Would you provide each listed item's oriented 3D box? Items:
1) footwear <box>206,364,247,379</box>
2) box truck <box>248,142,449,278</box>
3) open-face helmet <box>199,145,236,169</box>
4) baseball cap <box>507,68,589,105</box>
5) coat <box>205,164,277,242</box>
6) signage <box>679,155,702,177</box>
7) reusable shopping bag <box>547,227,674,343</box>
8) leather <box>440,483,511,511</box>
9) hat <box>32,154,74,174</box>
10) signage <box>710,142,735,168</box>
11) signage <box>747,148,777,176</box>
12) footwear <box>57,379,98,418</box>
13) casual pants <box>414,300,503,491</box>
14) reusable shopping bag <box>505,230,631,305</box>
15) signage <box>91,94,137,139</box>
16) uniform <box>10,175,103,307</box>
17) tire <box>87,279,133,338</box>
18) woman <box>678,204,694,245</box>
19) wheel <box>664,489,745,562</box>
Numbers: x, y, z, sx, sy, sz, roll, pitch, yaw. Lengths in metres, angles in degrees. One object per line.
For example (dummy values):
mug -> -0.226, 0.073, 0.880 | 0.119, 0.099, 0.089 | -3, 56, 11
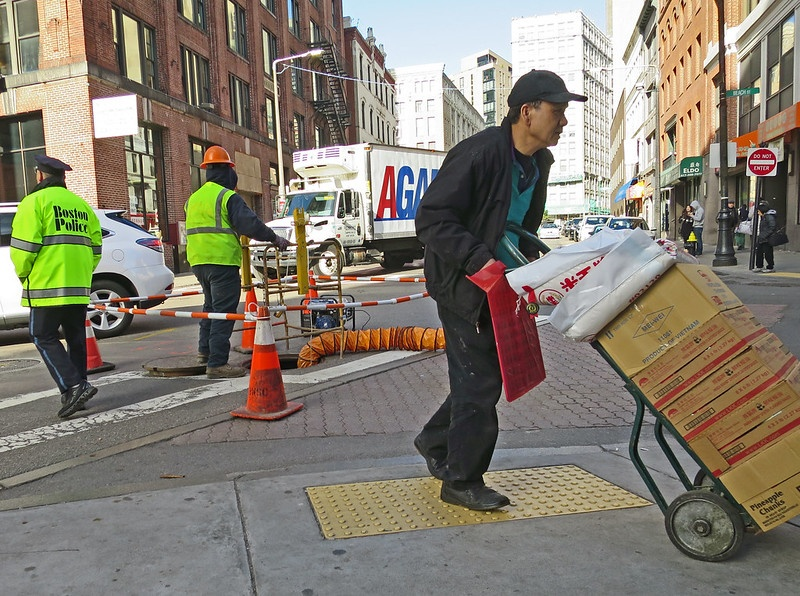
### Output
footwear -> -1.789, 0.760, 7.017 | 0.425, 0.164, 0.156 | -2, 2, -11
box truck -> -2.028, -2.670, 19.308 | 3.131, 3.313, 7.499 | 1, 3, 36
open-face helmet -> -1.954, -1.471, 7.262 | 0.398, 0.240, 0.457 | -2, 6, -5
baseball cap -> 0.760, -1.091, 3.564 | 0.339, 0.159, 0.208 | -6, 6, 16
coat -> -1.641, -0.991, 7.026 | 0.463, 0.809, 0.842 | -8, 12, -34
signage -> 13.768, -6.171, 31.749 | 0.930, 0.755, 1.268 | -9, 9, -39
reusable shopping bag -> 1.038, -0.055, 3.298 | 0.607, 0.217, 0.481 | -41, 27, 7
leather -> 0.420, 1.099, 3.820 | 0.373, 0.142, 0.144 | -1, 3, 28
hat -> -3.180, -1.208, 6.054 | 0.293, 0.095, 0.266 | 21, 19, 36
signage -> 9.052, -4.025, 18.946 | 0.037, 0.943, 1.498 | 2, 6, 42
signage -> 8.346, -3.133, 15.586 | 0.564, 0.653, 0.617 | 2, 10, 22
footwear -> -2.814, 0.863, 5.788 | 0.431, 0.199, 0.154 | -40, -11, 10
casual pants -> 0.349, 0.452, 3.899 | 0.531, 1.318, 0.477 | 0, 7, -1
reusable shopping bag -> 0.798, -0.156, 3.302 | 0.432, 0.153, 0.440 | -28, -2, 35
signage -> -8.440, -5.341, 19.867 | 1.534, 1.168, 0.054 | 0, 0, 22
uniform -> -3.031, -0.484, 5.969 | 0.735, 1.098, 0.447 | -8, 11, -34
tire -> -4.093, 0.124, 9.475 | 0.908, 0.825, 0.315 | -5, 1, -40
woman -> 10.827, -2.759, 25.319 | 0.697, 1.596, 0.644 | -1, 0, 37
wheel -> 1.473, 1.101, 3.268 | 0.351, 0.327, 0.105 | -9, -18, 41
